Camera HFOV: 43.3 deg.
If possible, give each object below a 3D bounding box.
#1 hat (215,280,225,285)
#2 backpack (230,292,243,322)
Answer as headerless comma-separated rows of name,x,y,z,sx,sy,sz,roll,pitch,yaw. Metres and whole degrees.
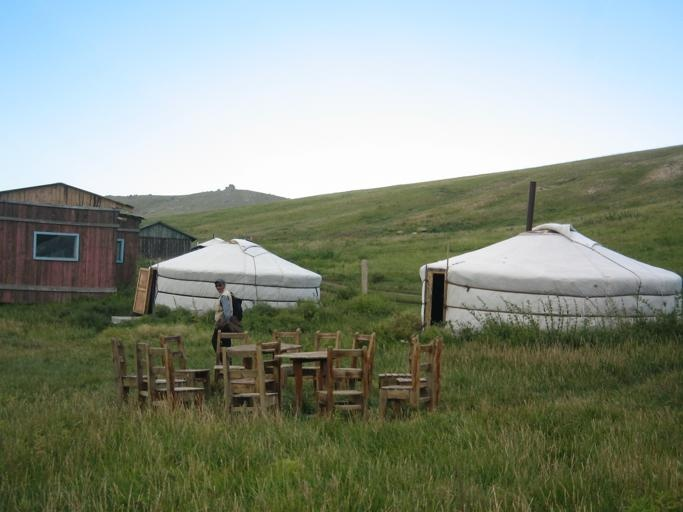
hat,-2.222,0.462,15.666,0.119,0.144,0.160,0,-5,-3
backpack,-2.032,0.951,16.167,0.431,0.468,0.324,-2,5,-12
